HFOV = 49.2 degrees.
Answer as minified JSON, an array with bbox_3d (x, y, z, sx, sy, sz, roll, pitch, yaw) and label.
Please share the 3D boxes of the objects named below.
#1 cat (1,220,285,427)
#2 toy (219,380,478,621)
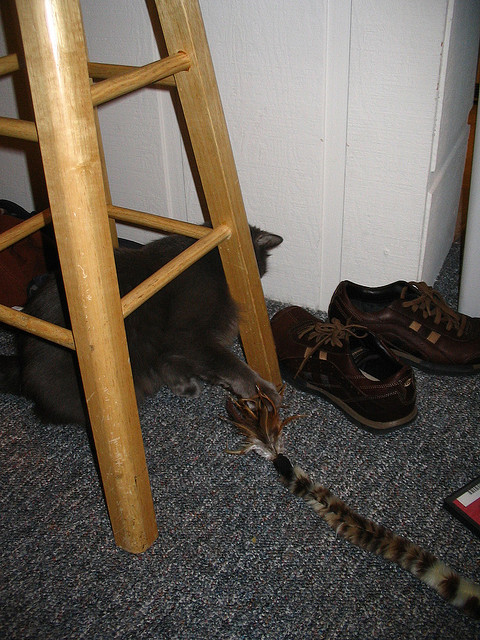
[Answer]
[{"bbox_3d":[-0.151,0.020,0.885,0.627,0.257,0.163,-16,69,-4],"label":"cat"},{"bbox_3d":[0.145,0.287,0.904,0.163,0.123,0.535,-25,36,-31],"label":"toy"}]
